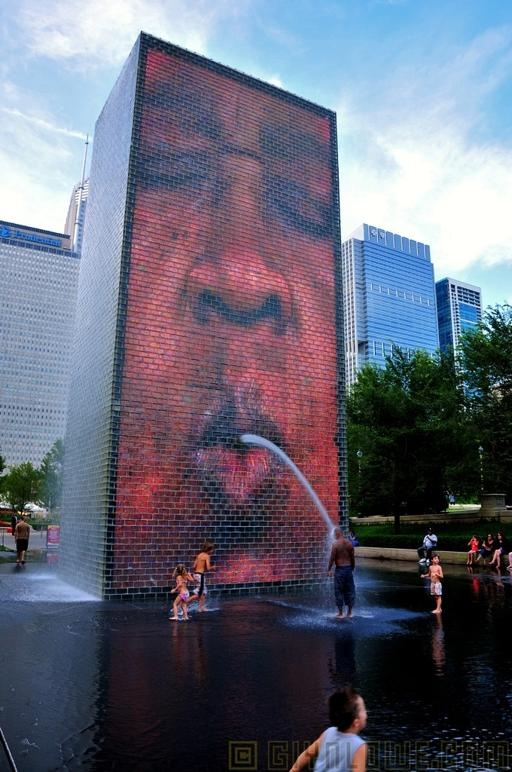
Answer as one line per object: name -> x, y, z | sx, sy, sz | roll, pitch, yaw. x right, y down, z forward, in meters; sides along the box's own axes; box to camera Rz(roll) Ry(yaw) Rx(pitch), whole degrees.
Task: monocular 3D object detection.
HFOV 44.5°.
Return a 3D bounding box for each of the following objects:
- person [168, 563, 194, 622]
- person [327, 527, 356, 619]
person -> -1.222, 3.333, 10.247 | 0.352, 0.837, 1.237 | 0, -11, -7
person -> 1.411, 3.093, 10.413 | 0.430, 1.405, 0.852 | -3, -11, 6
